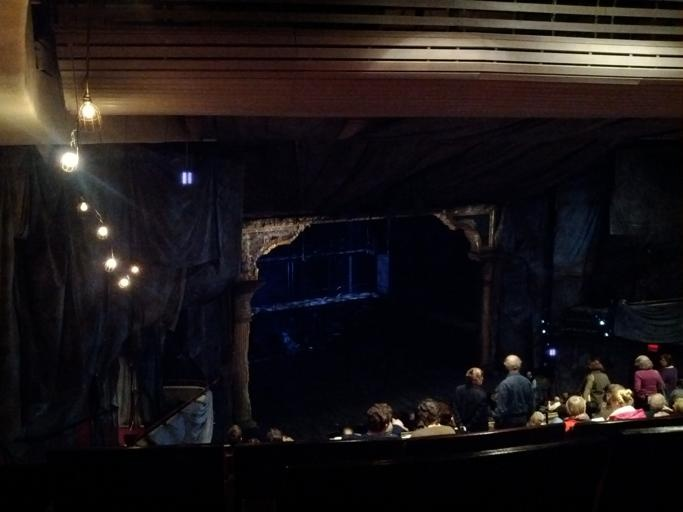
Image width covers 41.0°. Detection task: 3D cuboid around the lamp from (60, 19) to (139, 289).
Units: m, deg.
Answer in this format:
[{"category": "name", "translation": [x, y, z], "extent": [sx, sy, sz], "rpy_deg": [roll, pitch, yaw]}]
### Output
[{"category": "lamp", "translation": [-2.649, -1.045, 10.042], "extent": [0.821, 2.577, 2.215], "rpy_deg": [-1, -10, -11]}]
